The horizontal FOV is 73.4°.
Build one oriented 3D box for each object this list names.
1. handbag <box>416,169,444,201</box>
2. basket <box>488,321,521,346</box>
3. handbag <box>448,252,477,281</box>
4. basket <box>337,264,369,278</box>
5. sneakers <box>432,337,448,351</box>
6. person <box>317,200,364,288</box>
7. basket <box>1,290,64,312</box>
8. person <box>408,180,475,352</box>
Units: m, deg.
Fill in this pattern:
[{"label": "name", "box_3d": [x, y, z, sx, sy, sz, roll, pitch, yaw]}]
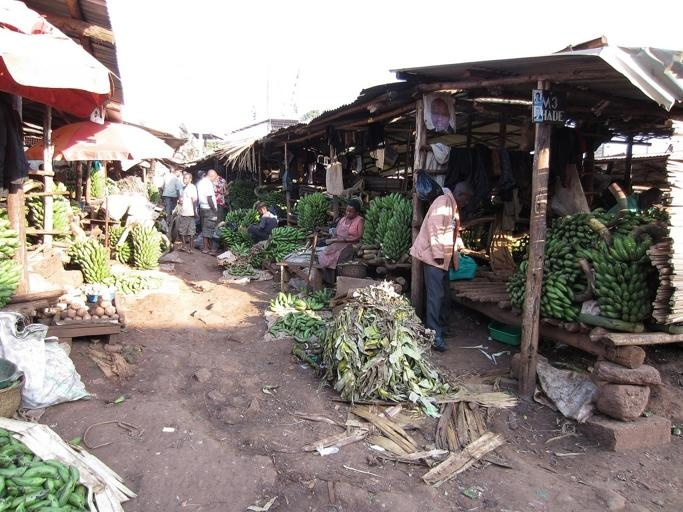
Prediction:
[{"label": "handbag", "box_3d": [1.360, -1.124, 7.283, 0.363, 0.337, 0.539, -10, -15, 39]}, {"label": "basket", "box_3d": [2.410, 1.164, 6.793, 0.339, 0.124, 0.262, 6, 19, 33]}, {"label": "handbag", "box_3d": [1.889, 0.182, 7.262, 0.482, 0.437, 0.256, -1, 1, -27]}, {"label": "basket", "box_3d": [0.184, 0.256, 8.390, 0.318, 0.216, 0.314, 0, -4, -17]}, {"label": "sneakers", "box_3d": [1.415, 1.272, 6.638, 0.185, 0.140, 0.325, -2, 2, -18]}, {"label": "person", "box_3d": [0.000, -0.298, 8.715, 0.809, 1.610, 0.952, 3, 8, 22]}, {"label": "basket", "box_3d": [-3.795, 0.561, 5.596, 0.418, 0.172, 0.778, 3, 7, 28]}, {"label": "person", "box_3d": [1.471, 0.159, 6.901, 0.668, 2.346, 0.880, 4, 8, 30]}]
